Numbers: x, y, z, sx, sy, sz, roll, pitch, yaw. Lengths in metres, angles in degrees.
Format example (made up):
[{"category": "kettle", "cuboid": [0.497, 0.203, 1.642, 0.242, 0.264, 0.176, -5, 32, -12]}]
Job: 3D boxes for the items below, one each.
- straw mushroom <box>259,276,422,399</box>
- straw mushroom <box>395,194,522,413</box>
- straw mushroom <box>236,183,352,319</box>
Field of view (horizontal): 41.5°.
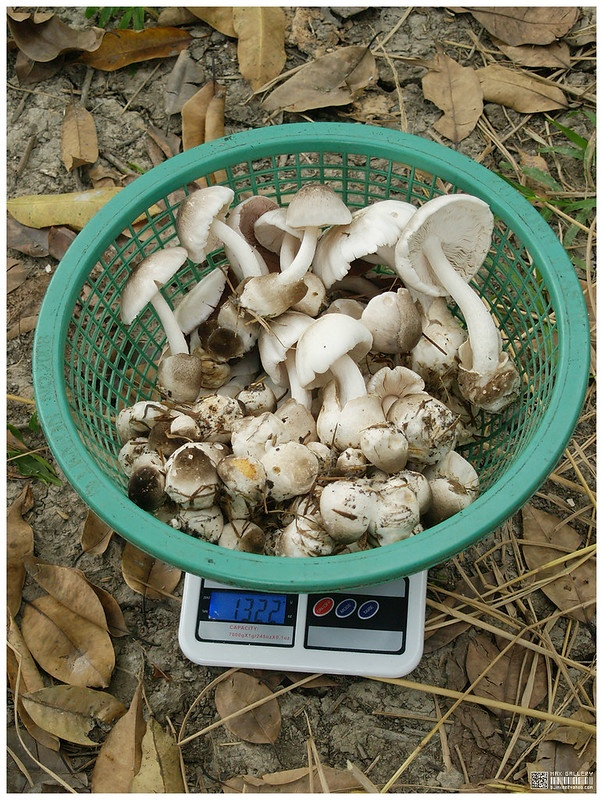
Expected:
[{"category": "straw mushroom", "cuboid": [0.045, -0.106, 1.194, 0.160, 0.113, 0.192, 30, 69, -26]}, {"category": "straw mushroom", "cuboid": [0.222, -0.130, 1.168, 0.106, 0.182, 0.302, -24, 88, 44]}, {"category": "straw mushroom", "cuboid": [0.005, -0.213, 1.190, 0.130, 0.120, 0.200, 29, 111, 29]}]
